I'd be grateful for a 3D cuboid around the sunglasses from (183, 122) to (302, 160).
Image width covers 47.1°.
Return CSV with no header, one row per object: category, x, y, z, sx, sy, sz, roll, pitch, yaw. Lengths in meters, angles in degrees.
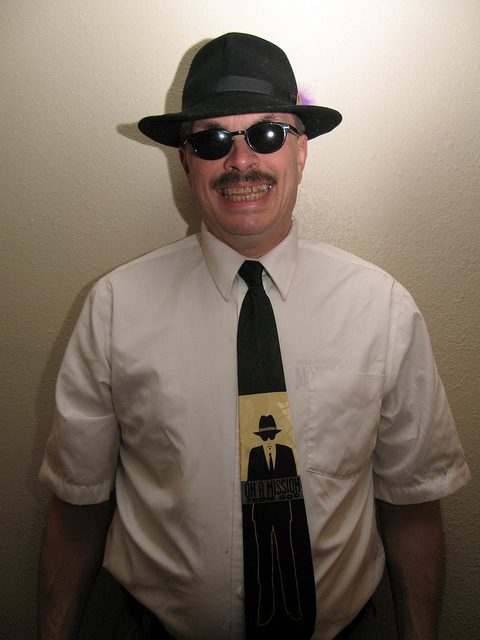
sunglasses,-0.003,-0.396,1.222,0.223,0.076,0.069,-2,16,-6
